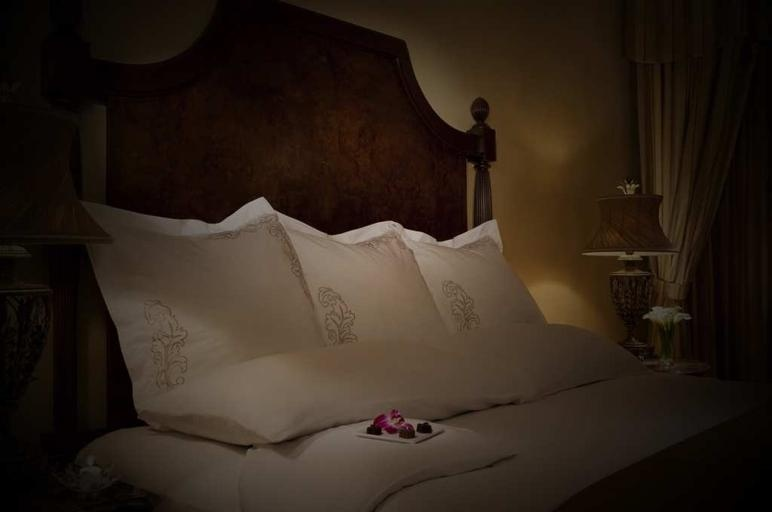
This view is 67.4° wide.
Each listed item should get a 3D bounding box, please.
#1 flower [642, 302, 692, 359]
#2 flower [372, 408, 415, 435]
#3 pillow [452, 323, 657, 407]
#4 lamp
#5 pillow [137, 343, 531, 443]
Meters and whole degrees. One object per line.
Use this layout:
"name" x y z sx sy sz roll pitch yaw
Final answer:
"flower" 1.535 0.423 3.175 0.254 0.286 0.260 -3 -1 7
"flower" 0.021 0.490 1.661 0.075 0.039 0.077 6 0 38
"pillow" 0.587 0.387 2.125 0.495 0.123 0.321 0 25 -25
"lamp" 1.484 0.087 3.510 0.530 1.078 0.534 -2 -1 44
"pillow" -0.146 0.441 1.933 1.259 0.273 0.390 0 -3 -22
